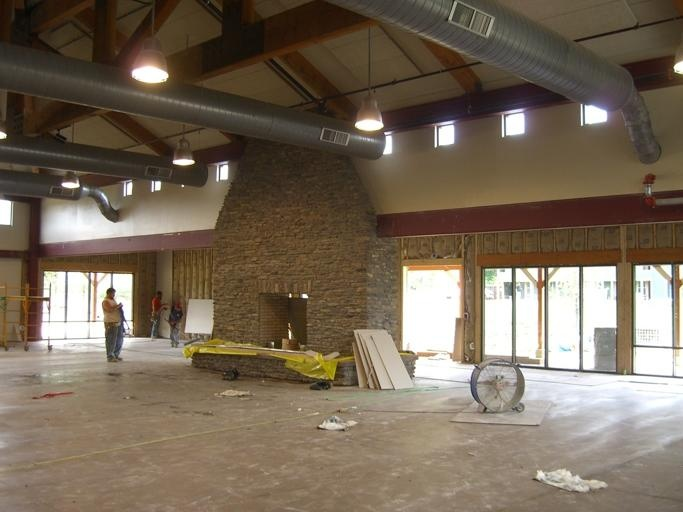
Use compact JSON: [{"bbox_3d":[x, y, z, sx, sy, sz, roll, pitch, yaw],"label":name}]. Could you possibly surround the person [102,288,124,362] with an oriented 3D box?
[{"bbox_3d":[-6.810,2.047,15.962,0.529,2.201,1.295,1,-1,-24],"label":"person"}]
